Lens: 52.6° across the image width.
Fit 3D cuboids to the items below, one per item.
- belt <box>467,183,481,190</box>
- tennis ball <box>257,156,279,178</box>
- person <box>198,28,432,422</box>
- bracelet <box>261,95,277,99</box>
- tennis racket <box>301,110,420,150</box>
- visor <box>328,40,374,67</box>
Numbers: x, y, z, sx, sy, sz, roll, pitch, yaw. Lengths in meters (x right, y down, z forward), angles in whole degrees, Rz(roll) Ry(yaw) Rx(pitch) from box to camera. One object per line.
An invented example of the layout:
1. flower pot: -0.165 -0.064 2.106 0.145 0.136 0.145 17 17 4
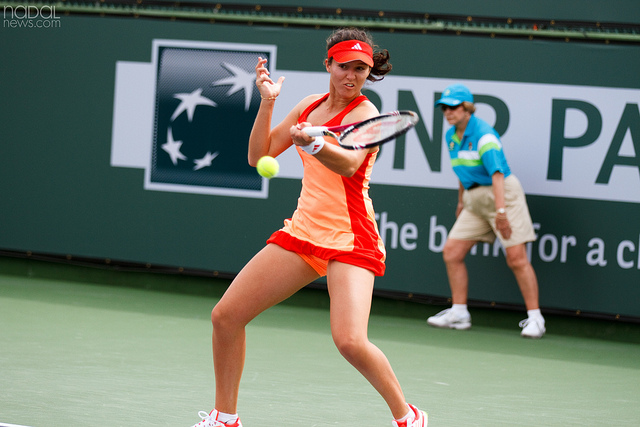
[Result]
1. belt: 1.542 -0.269 6.437 0.102 0.074 0.024 7 9 18
2. tennis ball: -0.336 -0.293 4.222 0.121 0.135 0.129 -10 -22 -4
3. person: -0.031 0.170 4.229 1.473 2.723 0.865 3 8 -4
4. bracelet: -0.350 -0.787 4.386 0.091 0.024 0.156 3 9 -7
5. tennis racket: 0.241 -0.511 3.905 0.667 0.255 0.311 5 9 7
6. visor: 0.202 -1.023 4.181 0.311 0.163 0.423 1 10 -17
